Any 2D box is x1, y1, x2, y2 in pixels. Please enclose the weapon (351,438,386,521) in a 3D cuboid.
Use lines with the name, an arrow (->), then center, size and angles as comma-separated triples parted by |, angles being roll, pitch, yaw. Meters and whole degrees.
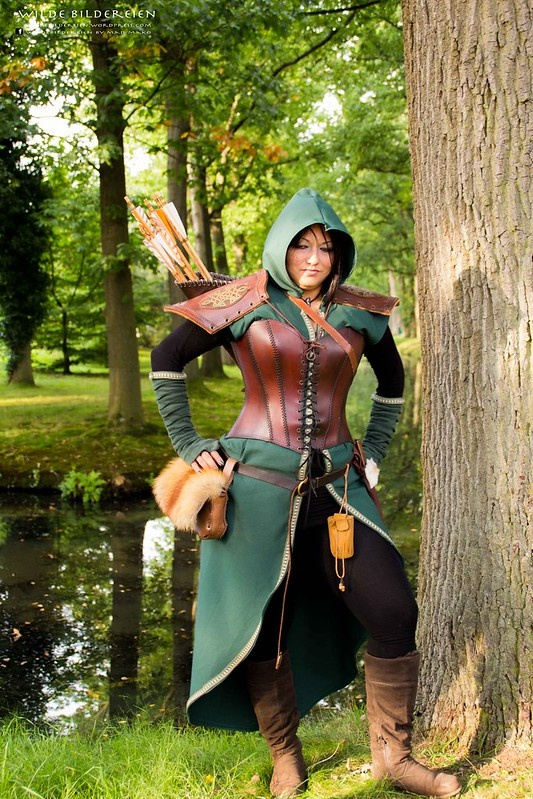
weapon -> 0.356, 0.281, 2.847 | 0.142, 0.261, 0.114 | -1, 13, 1

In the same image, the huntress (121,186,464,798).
huntress -> 0.087, 0.238, 2.853 | 1.142, 1.887, 0.730 | -2, -6, -12

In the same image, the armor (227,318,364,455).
armor -> 0.095, -0.066, 2.852 | 0.445, 0.439, 0.447 | -6, 10, -39
